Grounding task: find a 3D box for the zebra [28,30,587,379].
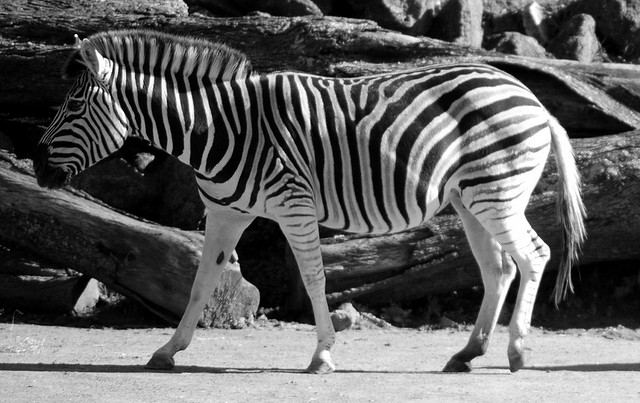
[{"bbox_3d":[-0.013,0.059,9.784,6.030,3.687,1.616,0,-1,-4],"label":"zebra"}]
